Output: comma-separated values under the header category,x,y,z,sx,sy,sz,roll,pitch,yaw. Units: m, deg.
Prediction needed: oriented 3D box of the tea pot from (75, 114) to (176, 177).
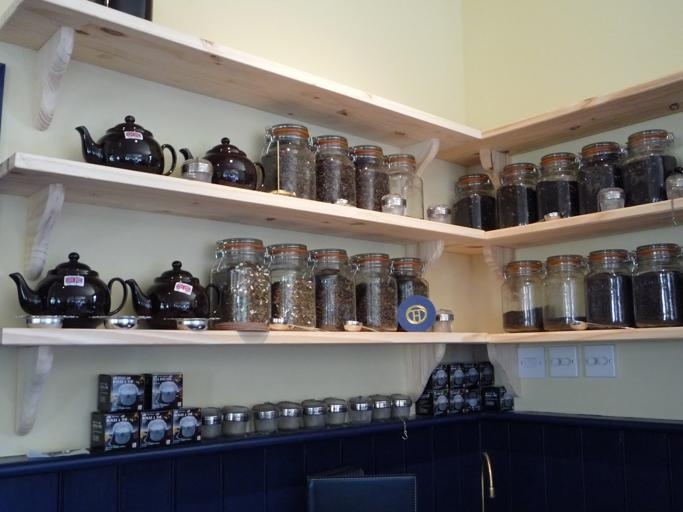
category,x,y,z,sx,sy,sz,roll,pitch,yaw
tea pot,-0.617,-0.308,1.754,0.286,0.162,0.177,2,-6,-41

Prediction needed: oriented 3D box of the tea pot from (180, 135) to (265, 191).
category,x,y,z,sx,sy,sz,roll,pitch,yaw
tea pot,-0.369,-0.284,1.925,0.269,0.160,0.194,2,2,-37

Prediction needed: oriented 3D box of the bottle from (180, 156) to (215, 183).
category,x,y,z,sx,sy,sz,roll,pitch,yaw
bottle,-0.424,-0.248,1.764,0.083,0.061,0.080,1,-4,0

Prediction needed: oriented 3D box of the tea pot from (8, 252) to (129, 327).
category,x,y,z,sx,sy,sz,roll,pitch,yaw
tea pot,-0.738,0.098,1.652,0.310,0.180,0.196,2,-3,-41

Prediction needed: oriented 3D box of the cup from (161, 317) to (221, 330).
category,x,y,z,sx,sy,sz,roll,pitch,yaw
cup,-0.443,0.195,1.699,0.122,0.034,0.038,2,-9,-15

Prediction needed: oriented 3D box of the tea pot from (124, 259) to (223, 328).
category,x,y,z,sx,sy,sz,roll,pitch,yaw
tea pot,-0.487,0.115,1.777,0.266,0.162,0.193,3,-2,-43

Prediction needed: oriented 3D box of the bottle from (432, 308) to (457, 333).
category,x,y,z,sx,sy,sz,roll,pitch,yaw
bottle,0.408,0.262,2.359,0.095,0.077,0.090,6,-8,-40
